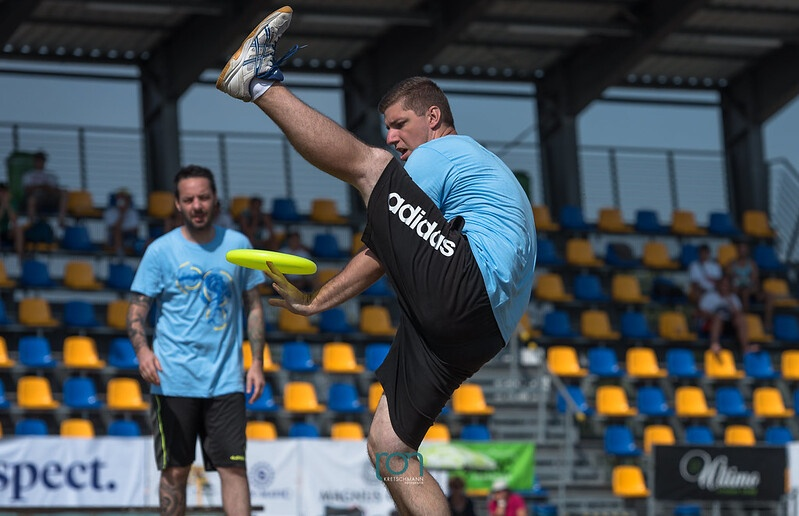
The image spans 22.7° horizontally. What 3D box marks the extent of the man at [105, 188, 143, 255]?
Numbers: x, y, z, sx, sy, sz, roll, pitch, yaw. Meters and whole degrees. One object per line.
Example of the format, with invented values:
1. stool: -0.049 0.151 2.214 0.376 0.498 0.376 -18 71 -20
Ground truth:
1. man: -5.324 -0.470 37.774 0.823 1.438 1.341 0 -22 -11

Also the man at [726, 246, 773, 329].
1. man: 6.139 0.457 33.941 0.670 1.254 0.775 -10 -24 4

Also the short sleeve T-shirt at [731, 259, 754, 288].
1. short sleeve T-shirt: 5.927 0.279 34.012 0.348 0.497 0.233 2 7 2

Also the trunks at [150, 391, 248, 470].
1. trunks: -2.983 2.599 29.537 1.779 1.604 1.003 1 -17 -8
